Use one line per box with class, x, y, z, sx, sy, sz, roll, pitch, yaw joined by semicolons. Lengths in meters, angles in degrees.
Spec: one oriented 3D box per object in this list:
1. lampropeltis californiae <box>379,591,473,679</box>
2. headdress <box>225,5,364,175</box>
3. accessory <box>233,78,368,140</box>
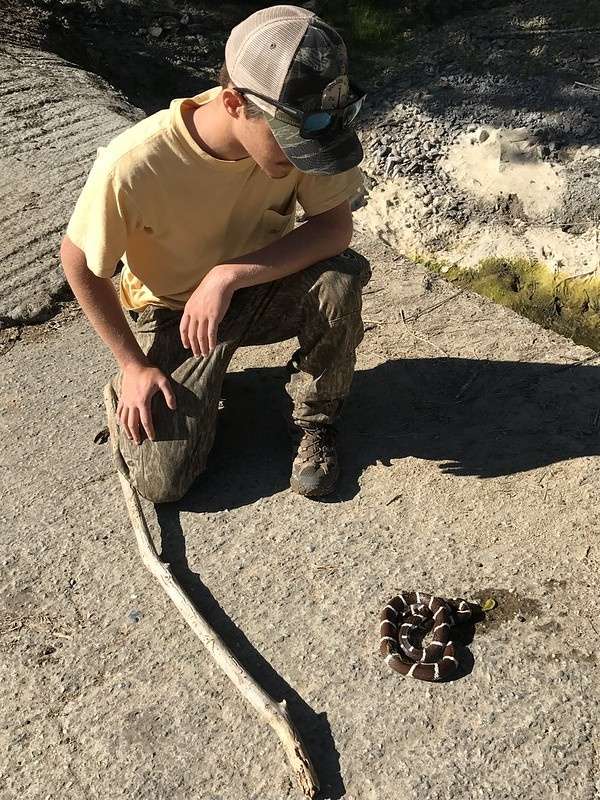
lampropeltis californiae;0.383;0.742;2.506;0.277;0.125;0.315;9;32;18
headdress;-0.011;-0.896;2.302;0.376;0.422;0.243;-2;32;1
accessory;0.025;-0.866;2.334;0.274;0.077;0.263;36;42;21
